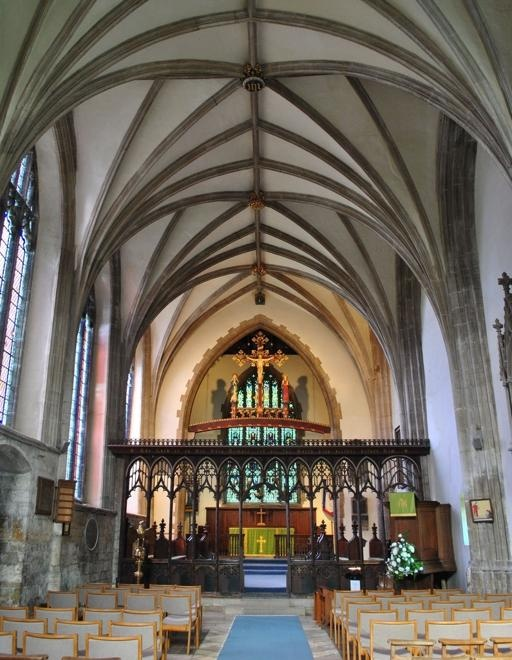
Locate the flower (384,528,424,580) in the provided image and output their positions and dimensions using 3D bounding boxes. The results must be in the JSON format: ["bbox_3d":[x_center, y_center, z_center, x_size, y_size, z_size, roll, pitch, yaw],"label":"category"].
[{"bbox_3d":[2.736,4.225,9.673,0.598,0.706,0.550,-8,-23,15],"label":"flower"}]
